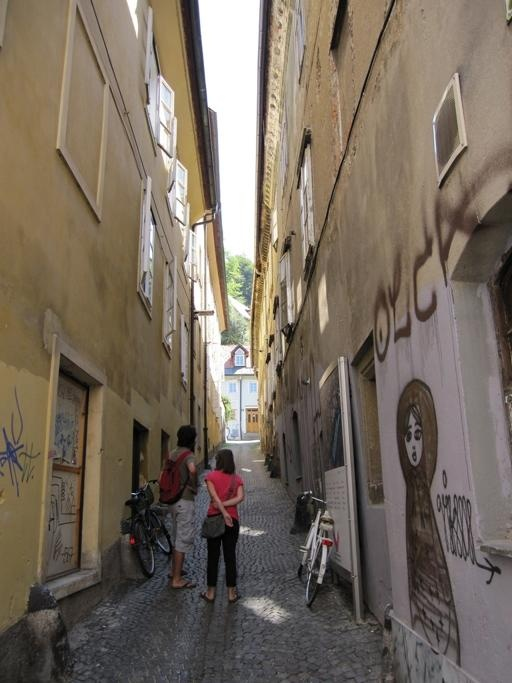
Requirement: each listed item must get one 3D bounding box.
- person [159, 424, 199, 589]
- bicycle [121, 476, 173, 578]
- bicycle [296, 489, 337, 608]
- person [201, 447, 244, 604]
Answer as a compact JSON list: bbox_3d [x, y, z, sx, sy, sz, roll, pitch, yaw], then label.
[{"bbox_3d":[-1.007,2.066,5.467,0.497,1.944,0.790,1,-13,-15],"label":"person"},{"bbox_3d":[-1.585,2.605,6.083,0.479,0.908,1.198,-26,-5,0],"label":"bicycle"},{"bbox_3d":[0.616,2.238,4.706,0.376,0.755,1.028,26,-13,1],"label":"bicycle"},{"bbox_3d":[-0.360,1.943,4.616,0.459,1.599,0.458,1,-12,-11],"label":"person"}]
